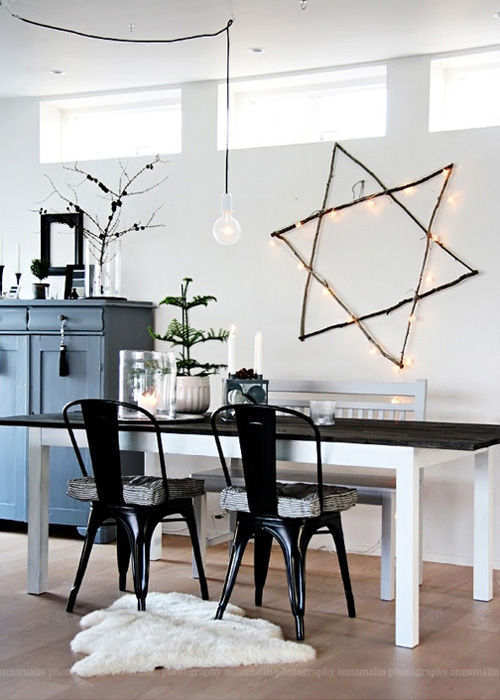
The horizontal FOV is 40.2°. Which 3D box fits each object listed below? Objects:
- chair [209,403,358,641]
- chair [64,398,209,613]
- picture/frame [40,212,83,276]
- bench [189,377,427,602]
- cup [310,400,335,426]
[{"bbox_3d":[0.079,0.554,2.265,0.542,0.741,0.754,0,-6,8],"label":"chair"},{"bbox_3d":[-0.460,0.564,2.499,0.491,0.757,0.539,-2,-7,26],"label":"chair"},{"bbox_3d":[-1.223,-0.692,4.459,0.438,0.553,0.074,3,3,25],"label":"picture/frame"},{"bbox_3d":[0.220,0.534,2.621,0.942,0.846,0.356,-3,-5,35],"label":"bench"},{"bbox_3d":[0.272,0.230,2.524,0.092,0.078,0.084,0,1,0],"label":"cup"}]
